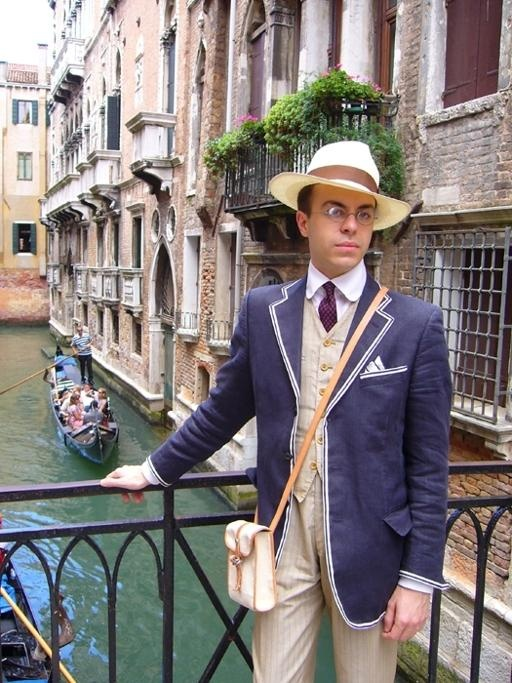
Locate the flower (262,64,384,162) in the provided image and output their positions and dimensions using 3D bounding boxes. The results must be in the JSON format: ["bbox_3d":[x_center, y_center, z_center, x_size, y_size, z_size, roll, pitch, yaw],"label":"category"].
[{"bbox_3d":[0.828,-2.833,7.778,0.996,0.686,1.340,0,-11,-25],"label":"flower"}]

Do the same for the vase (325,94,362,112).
[{"bbox_3d":[1.026,-2.804,7.260,0.499,0.169,0.095,4,8,35],"label":"vase"}]

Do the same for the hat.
[{"bbox_3d":[0.237,-0.518,1.852,0.312,0.174,0.314,14,-24,-3],"label":"hat"}]

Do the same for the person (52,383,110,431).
[{"bbox_3d":[-4.301,1.648,15.244,0.883,0.726,1.867,-4,5,-16],"label":"person"}]
